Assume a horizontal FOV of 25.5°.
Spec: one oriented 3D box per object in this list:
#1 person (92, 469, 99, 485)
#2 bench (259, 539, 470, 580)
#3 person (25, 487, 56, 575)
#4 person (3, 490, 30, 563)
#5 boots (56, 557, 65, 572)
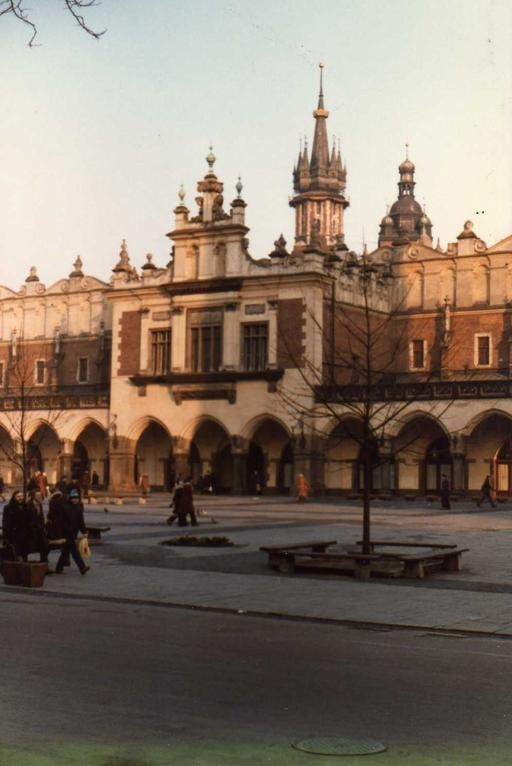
[{"bbox_3d":[-8.578,5.093,60.321,0.369,0.730,0.754,2,-6,-9],"label":"person"},{"bbox_3d":[1.790,2.889,18.428,2.961,0.487,2.086,-2,-6,23],"label":"bench"},{"bbox_3d":[-3.509,2.293,18.141,0.390,1.132,0.837,2,-6,-10],"label":"person"},{"bbox_3d":[-3.757,2.234,17.678,0.402,1.080,0.909,2,-6,-12],"label":"person"},{"bbox_3d":[-3.215,2.969,18.502,0.156,0.284,0.202,-1,0,11],"label":"boots"}]
